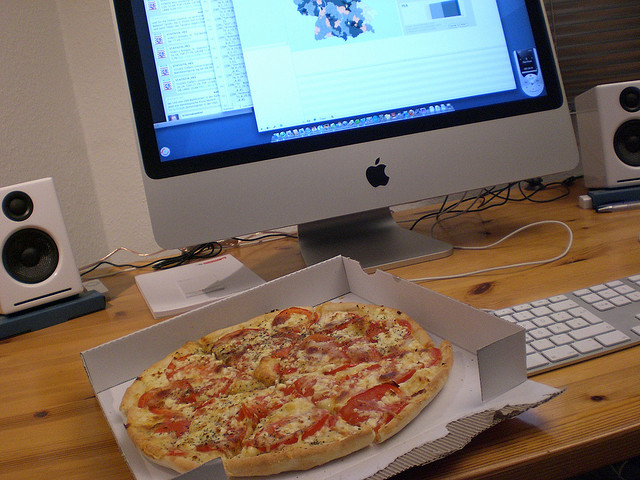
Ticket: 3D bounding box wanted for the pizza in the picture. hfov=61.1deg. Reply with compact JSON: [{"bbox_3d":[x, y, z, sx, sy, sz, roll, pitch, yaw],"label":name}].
[{"bbox_3d":[-0.028,0.193,0.724,0.297,0.031,0.229,-19,23,-16],"label":"pizza"}]
